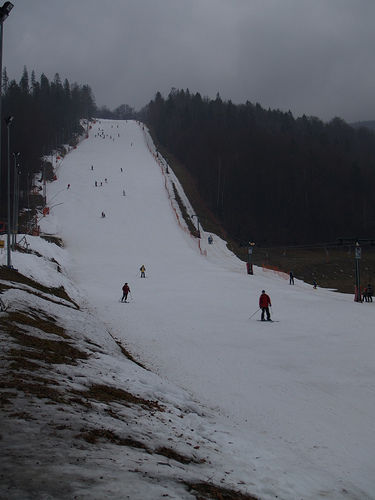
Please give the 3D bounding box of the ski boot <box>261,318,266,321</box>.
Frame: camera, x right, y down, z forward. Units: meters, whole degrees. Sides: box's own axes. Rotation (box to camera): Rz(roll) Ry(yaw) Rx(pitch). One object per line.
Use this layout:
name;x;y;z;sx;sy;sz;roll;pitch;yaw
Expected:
ski boot;3.274;3.021;24.748;0.184;0.107;0.243;15;4;-5

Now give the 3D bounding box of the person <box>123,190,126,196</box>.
person;-6.833;-6.054;62.324;0.372;0.564;1.268;11;5;-8

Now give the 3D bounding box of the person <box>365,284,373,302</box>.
person;9.554;2.364;30.294;0.303;0.918;0.333;9;3;-3

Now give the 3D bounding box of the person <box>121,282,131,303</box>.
person;-3.077;2.062;28.793;0.381;0.903;2.030;10;5;-6

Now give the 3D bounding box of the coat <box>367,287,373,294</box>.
coat;9.617;2.163;30.365;0.251;0.376;0.475;12;3;12

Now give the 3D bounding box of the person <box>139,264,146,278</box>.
person;-3.093;1.506;39.564;0.474;1.575;0.428;1;-9;-9
